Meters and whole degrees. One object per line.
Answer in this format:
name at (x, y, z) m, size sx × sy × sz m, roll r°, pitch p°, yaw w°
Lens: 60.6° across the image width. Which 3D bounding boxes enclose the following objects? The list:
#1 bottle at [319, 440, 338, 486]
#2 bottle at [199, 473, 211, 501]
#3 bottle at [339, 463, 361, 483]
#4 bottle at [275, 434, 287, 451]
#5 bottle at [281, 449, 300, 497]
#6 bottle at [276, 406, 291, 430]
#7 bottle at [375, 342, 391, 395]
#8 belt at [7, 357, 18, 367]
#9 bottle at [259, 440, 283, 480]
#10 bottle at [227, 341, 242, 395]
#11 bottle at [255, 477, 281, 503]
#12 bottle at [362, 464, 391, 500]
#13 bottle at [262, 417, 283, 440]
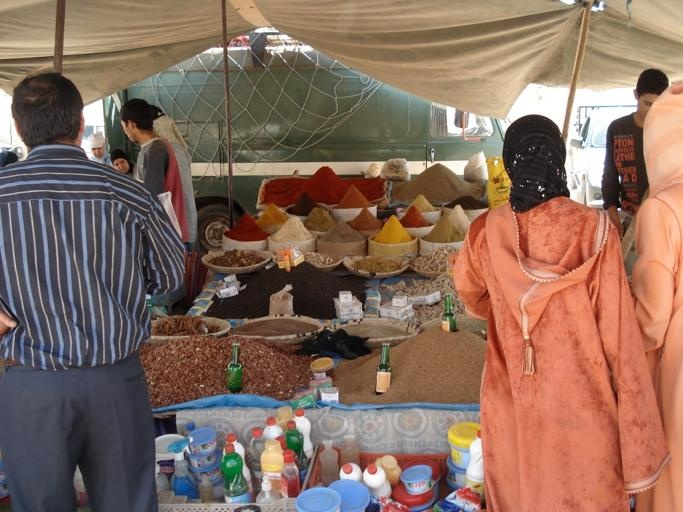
bottle at (-0.053, 0.844, 2.462) m, size 0.089 × 0.159 × 0.203 m, roll -1°, pitch 3°, yaw -1°
bottle at (-0.543, 0.926, 2.344) m, size 0.058 × 0.088 × 0.066 m, roll -1°, pitch 2°, yaw -15°
bottle at (0.035, 0.854, 2.322) m, size 0.089 × 0.071 × 0.095 m, roll -1°, pitch 3°, yaw 0°
bottle at (-0.242, 0.740, 2.340) m, size 0.040 × 0.039 × 0.042 m, roll -5°, pitch 17°, yaw 2°
bottle at (-0.190, 0.836, 2.317) m, size 0.065 × 0.178 × 0.174 m, roll -1°, pitch 2°, yaw 6°
bottle at (-0.242, 0.684, 2.517) m, size 0.075 × 0.107 × 0.071 m, roll 1°, pitch 25°, yaw 0°
bottle at (0.196, 0.514, 2.755) m, size 0.077 × 0.247 × 0.175 m, roll -1°, pitch 2°, yaw 5°
belt at (-1.117, 0.357, 1.989) m, size 0.048 × 0.027 × 0.013 m, roll 1°, pitch 3°, yaw 33°
bottle at (-0.262, 0.799, 2.310) m, size 0.108 × 0.137 × 0.058 m, roll 0°, pitch 2°, yaw 25°
bottle at (-0.510, 0.515, 2.793) m, size 0.080 × 0.236 × 0.159 m, roll -1°, pitch 2°, yaw -11°
bottle at (-0.284, 0.906, 2.273) m, size 0.094 × 0.091 × 0.084 m, roll -1°, pitch 2°, yaw -9°
bottle at (0.136, 0.886, 2.296) m, size 0.085 × 0.125 × 0.090 m, roll -20°, pitch 18°, yaw 7°
bottle at (-0.279, 0.711, 2.401) m, size 0.080 × 0.088 × 0.102 m, roll -1°, pitch 3°, yaw -8°
